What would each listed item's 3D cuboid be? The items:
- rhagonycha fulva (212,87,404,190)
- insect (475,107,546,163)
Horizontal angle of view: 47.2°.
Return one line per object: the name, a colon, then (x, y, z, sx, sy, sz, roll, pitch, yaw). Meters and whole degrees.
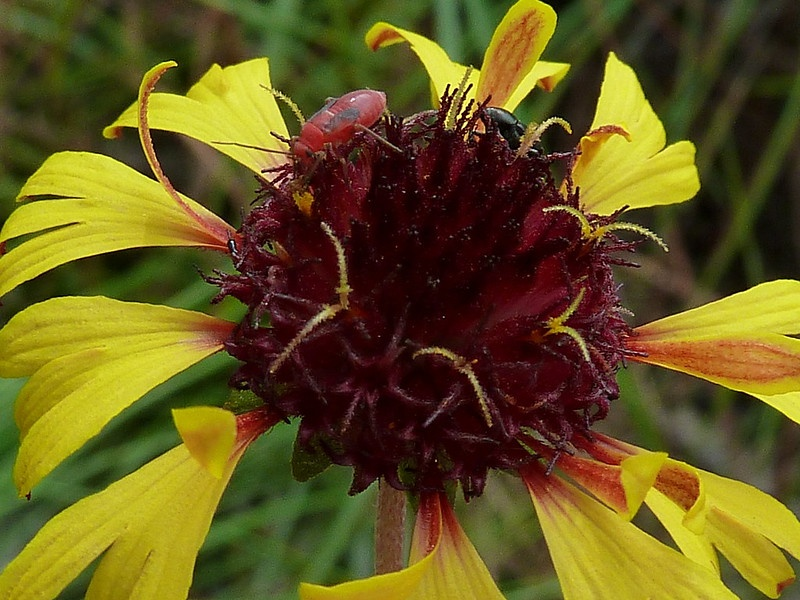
rhagonycha fulva: (-0.179, -0.379, 2.108, 0.302, 0.267, 0.090, -31, -28, -1)
insect: (0.278, -0.432, 2.237, 0.128, 0.037, 0.114, 31, 20, -18)
